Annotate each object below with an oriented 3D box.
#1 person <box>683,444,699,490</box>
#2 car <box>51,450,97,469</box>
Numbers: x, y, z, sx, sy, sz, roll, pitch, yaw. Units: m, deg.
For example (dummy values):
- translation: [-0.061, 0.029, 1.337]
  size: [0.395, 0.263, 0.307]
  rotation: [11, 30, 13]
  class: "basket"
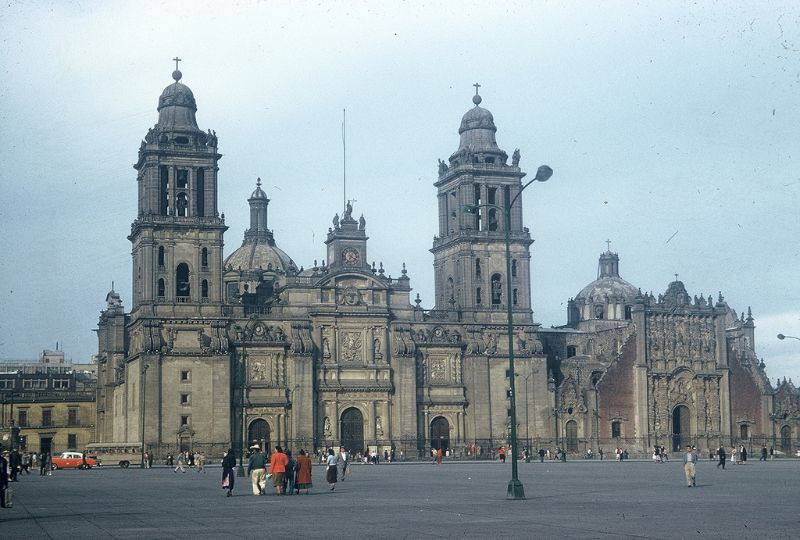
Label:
- translation: [18.699, 12.602, 116.298]
  size: [0.601, 2.704, 1.587]
  rotation: [-3, -10, 2]
  class: "person"
- translation: [-27.441, 16.184, 153.408]
  size: [3.523, 1.067, 1.501]
  rotation: [1, 0, -13]
  class: "car"
